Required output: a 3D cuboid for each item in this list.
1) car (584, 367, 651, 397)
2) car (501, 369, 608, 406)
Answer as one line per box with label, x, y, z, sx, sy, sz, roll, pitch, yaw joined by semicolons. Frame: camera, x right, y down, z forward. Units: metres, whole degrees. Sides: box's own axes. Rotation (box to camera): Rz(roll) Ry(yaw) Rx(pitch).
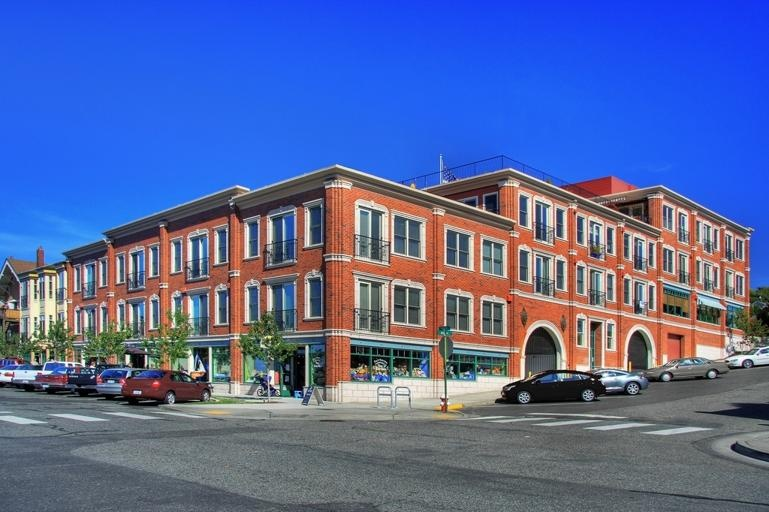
car;13.621;7.378;48.963;3.184;1.016;1.600;3;-10;-3
car;9.173;7.280;46.316;4.936;1.380;2.145;1;-9;1
